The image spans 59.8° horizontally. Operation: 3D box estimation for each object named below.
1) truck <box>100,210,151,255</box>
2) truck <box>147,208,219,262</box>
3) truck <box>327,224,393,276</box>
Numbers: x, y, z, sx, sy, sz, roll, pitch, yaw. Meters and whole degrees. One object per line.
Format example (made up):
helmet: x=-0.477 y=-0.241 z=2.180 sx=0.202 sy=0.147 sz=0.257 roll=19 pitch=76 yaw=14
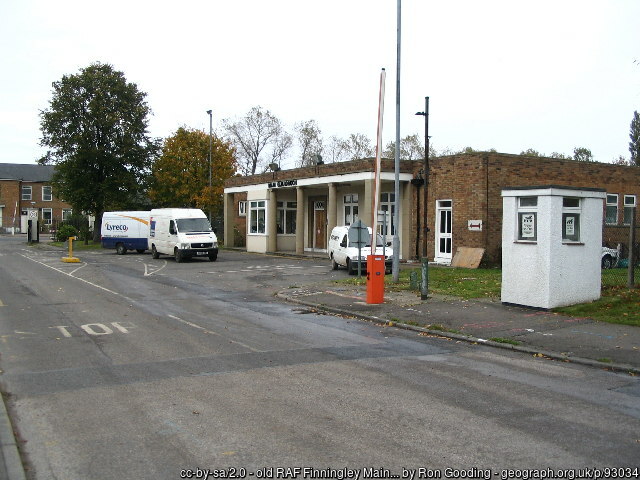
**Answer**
truck: x=-12.541 y=-0.495 z=39.097 sx=5.387 sy=2.997 sz=2.060 roll=0 pitch=2 yaw=20
truck: x=-8.088 y=-0.291 z=32.683 sx=1.970 sy=3.024 sz=4.728 roll=-2 pitch=4 yaw=-43
truck: x=1.669 y=0.466 z=25.582 sx=1.581 sy=1.430 sz=2.990 roll=1 pitch=-2 yaw=-17
